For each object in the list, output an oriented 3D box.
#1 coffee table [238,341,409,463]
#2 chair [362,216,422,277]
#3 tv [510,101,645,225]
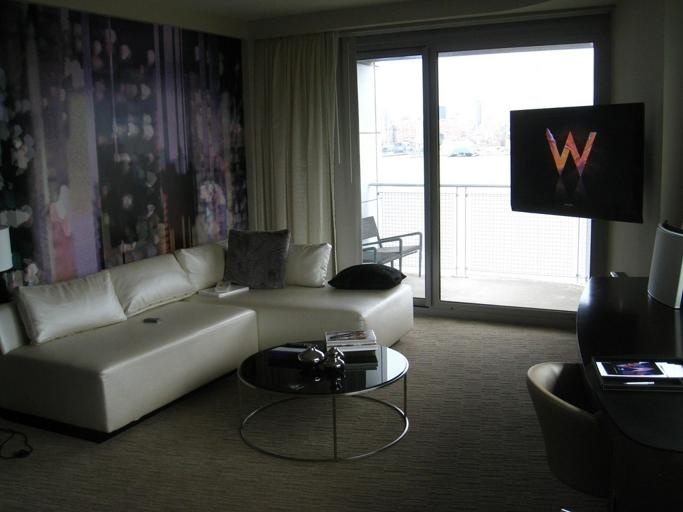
[{"bbox_3d":[-0.158,0.873,3.870,0.825,0.343,0.850,-2,13,-5],"label":"coffee table"},{"bbox_3d":[0.560,-0.094,6.417,0.653,0.970,0.738,4,10,29],"label":"chair"},{"bbox_3d":[2.185,-0.873,4.967,0.077,0.852,1.151,-8,11,-32],"label":"tv"}]
